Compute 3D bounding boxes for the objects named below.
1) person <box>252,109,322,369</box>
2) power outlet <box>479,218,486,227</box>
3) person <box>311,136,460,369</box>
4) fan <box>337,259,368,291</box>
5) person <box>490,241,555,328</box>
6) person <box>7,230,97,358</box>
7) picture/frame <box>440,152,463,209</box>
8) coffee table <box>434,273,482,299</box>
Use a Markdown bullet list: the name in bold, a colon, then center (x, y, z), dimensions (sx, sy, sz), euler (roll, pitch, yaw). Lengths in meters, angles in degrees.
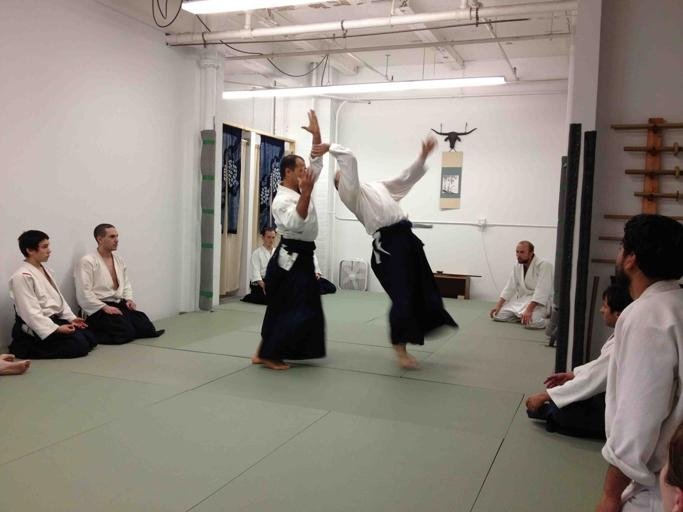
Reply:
- **person**: center (-0.426, -0.097, 3.908), dimensions (0.585, 2.167, 0.617), euler (1, 4, 6)
- **power outlet**: center (2.544, -0.583, 8.446), dimensions (0.129, 0.202, 0.128), euler (-1, -11, 12)
- **person**: center (0.477, -0.032, 4.100), dimensions (1.075, 2.024, 0.758), euler (2, 4, 14)
- **fan**: center (0.252, 0.397, 9.157), dimensions (0.530, 0.602, 0.217), euler (0, -2, 17)
- **person**: center (2.456, 0.370, 6.199), dimensions (0.743, 1.088, 0.679), euler (2, -1, -16)
- **person**: center (-2.653, 0.345, 4.280), dimensions (0.663, 1.138, 0.399), euler (0, 4, -10)
- **picture/frame**: center (2.028, -1.401, 8.655), dimensions (0.398, 1.060, 0.039), euler (3, -1, 21)
- **coffee table**: center (2.026, 0.546, 8.414), dimensions (0.808, 0.470, 0.602), euler (6, -6, 4)
